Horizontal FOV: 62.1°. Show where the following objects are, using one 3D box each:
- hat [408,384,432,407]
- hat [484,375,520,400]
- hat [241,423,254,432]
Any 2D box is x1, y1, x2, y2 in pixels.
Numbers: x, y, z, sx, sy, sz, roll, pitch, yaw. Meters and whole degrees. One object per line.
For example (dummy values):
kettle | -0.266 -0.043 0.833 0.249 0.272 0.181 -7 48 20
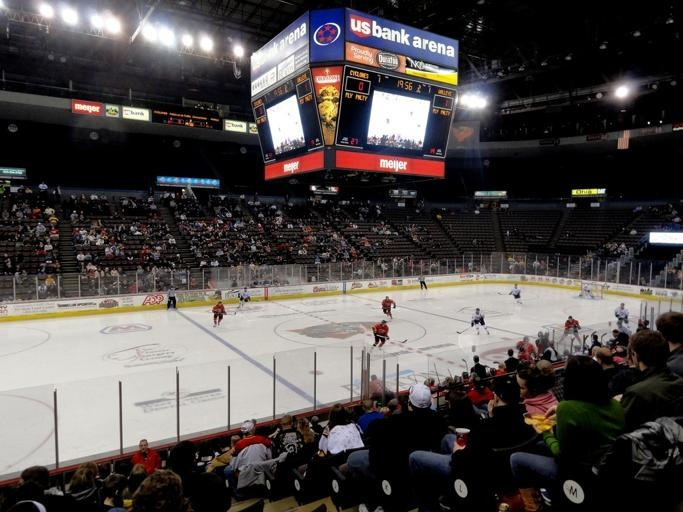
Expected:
hat | 1.522 2.693 10.796 0.393 0.439 0.260 -1 4 1
hat | 2.872 2.311 9.961 0.398 0.537 0.517 -4 28 0
hat | -2.053 3.767 12.409 0.239 0.195 0.182 -9 12 -35
